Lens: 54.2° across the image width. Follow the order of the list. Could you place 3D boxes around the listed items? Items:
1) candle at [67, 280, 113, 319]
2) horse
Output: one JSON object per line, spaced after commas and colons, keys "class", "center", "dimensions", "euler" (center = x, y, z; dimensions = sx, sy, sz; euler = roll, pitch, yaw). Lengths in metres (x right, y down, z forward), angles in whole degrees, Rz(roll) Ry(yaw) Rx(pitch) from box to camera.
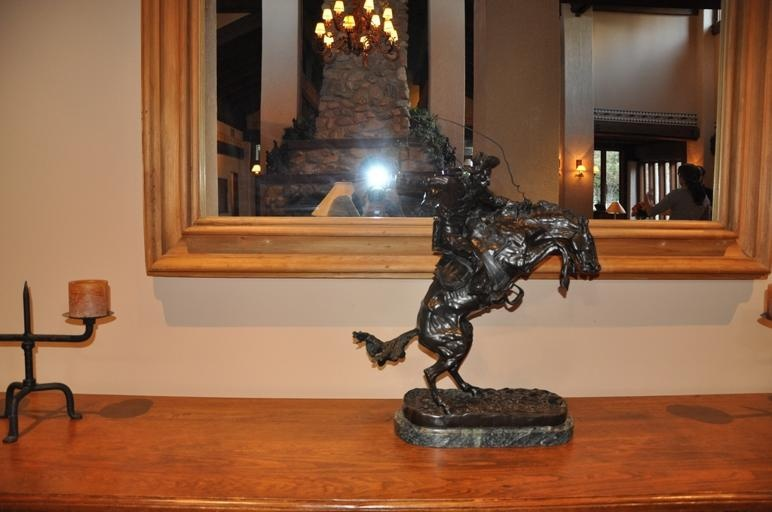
{"class": "candle", "center": [-0.785, 0.114, 1.980], "dimensions": [0.102, 0.096, 0.107], "euler": [-5, -5, 34]}
{"class": "horse", "center": [0.242, 0.123, 1.943], "dimensions": [0.685, 0.511, 0.183], "euler": [-6, -2, -9]}
